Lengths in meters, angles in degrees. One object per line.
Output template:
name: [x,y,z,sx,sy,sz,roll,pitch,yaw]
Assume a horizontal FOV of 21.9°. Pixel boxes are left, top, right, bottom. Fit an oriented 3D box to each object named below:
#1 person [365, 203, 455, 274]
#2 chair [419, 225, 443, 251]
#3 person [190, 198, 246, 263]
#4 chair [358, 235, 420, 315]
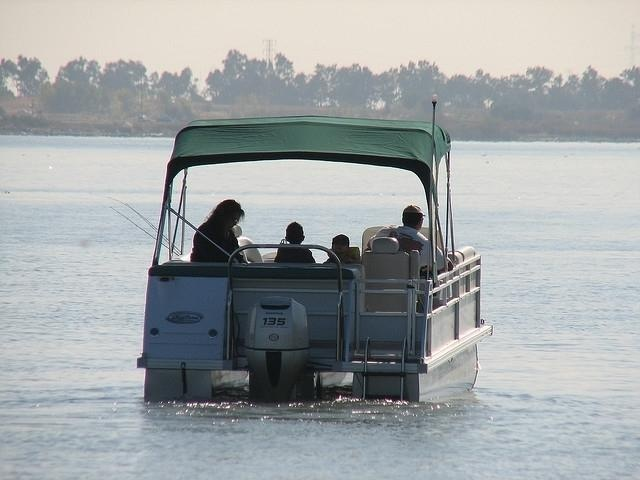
person: [1.238,0.120,22.655,1.271,1.191,0.618,11,13,23]
chair: [1.562,-0.033,23.955,0.426,0.336,0.320,-2,4,-45]
person: [-1.262,-0.087,22.256,0.876,1.031,0.805,8,7,-5]
chair: [0.896,0.476,21.786,0.804,0.998,1.005,2,2,11]
